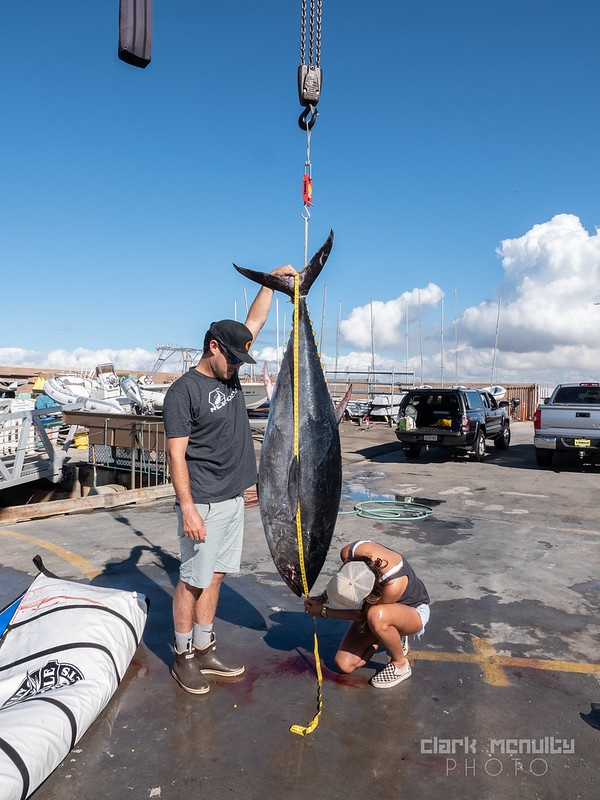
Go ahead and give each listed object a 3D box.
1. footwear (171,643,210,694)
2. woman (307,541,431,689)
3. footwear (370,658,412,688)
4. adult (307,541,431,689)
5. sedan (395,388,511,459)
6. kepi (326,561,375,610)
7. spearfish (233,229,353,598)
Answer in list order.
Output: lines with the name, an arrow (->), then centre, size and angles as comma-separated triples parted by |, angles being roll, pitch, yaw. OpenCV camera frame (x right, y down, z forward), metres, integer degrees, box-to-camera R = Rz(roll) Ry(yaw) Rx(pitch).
footwear -> -0.566, 1.396, 2.740 | 0.120, 0.182, 0.271 | 4, -4, -35
woman -> 0.367, 1.129, 2.822 | 0.654, 0.705, 0.578 | -5, 12, -24
footwear -> 0.484, 1.435, 2.771 | 0.233, 0.092, 0.094 | 5, -13, -43
adult -> 0.345, 1.132, 2.821 | 0.663, 0.690, 0.561 | -3, 12, -14
sedan -> 3.740, 0.437, 12.523 | 1.514, 1.195, 2.738 | 2, 7, 35
kepi -> 0.234, 0.941, 2.592 | 0.182, 0.270, 0.139 | 38, -6, 16
spearfish -> -0.051, 0.072, 2.272 | 0.459, 1.598, 0.432 | 0, 0, 3
